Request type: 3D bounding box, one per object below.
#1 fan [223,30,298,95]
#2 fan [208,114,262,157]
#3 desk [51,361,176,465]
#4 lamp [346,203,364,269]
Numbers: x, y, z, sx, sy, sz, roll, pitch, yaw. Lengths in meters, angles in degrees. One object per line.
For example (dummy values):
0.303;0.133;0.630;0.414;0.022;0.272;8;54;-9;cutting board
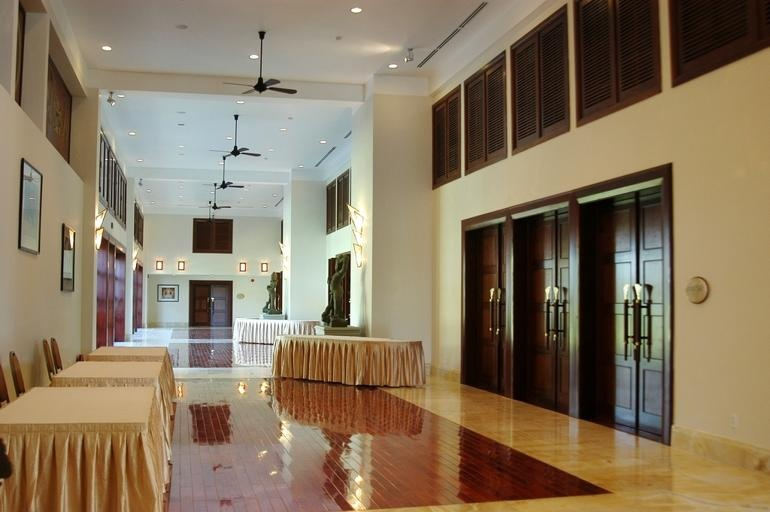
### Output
-2.311;-3.755;10.889;1.154;1.089;1.203;2;4;-13;fan
-4.041;-3.037;15.500;1.492;1.116;1.573;-1;0;9;fan
-3.071;1.636;6.462;0.925;0.412;1.640;1;-6;-8;desk
-0.656;-0.468;12.777;0.300;1.455;0.891;1;0;-10;lamp
